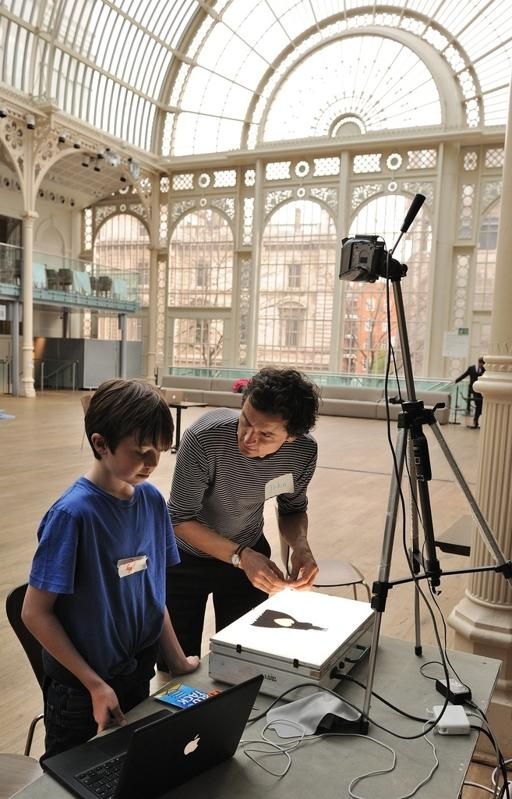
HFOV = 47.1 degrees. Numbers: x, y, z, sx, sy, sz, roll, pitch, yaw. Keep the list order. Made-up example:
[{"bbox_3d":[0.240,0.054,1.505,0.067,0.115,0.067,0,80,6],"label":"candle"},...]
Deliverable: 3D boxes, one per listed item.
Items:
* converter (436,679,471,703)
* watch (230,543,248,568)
[{"bbox_3d":[0.388,0.557,1.147,0.031,0.020,0.059,1,2,-9],"label":"converter"},{"bbox_3d":[-0.040,0.438,1.648,0.039,0.064,0.059,15,14,1],"label":"watch"}]
